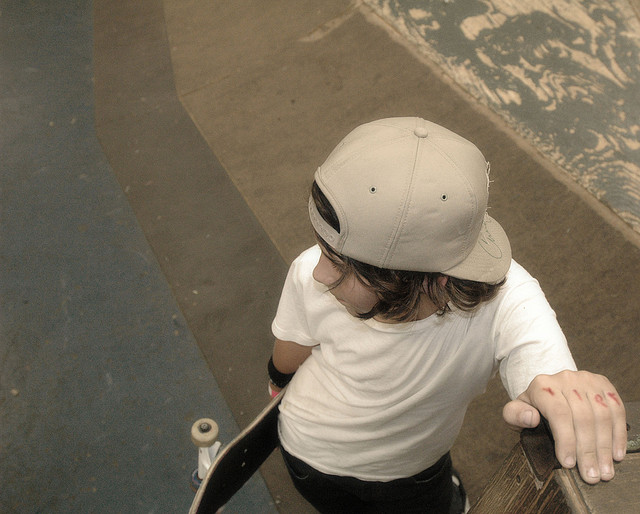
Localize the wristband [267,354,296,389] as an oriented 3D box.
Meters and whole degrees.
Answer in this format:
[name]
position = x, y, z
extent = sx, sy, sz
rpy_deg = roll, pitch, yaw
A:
[wristband]
position = -0.183, 0.569, 3.729
extent = 0.100, 0.167, 0.112
rpy_deg = -36, 61, -27
